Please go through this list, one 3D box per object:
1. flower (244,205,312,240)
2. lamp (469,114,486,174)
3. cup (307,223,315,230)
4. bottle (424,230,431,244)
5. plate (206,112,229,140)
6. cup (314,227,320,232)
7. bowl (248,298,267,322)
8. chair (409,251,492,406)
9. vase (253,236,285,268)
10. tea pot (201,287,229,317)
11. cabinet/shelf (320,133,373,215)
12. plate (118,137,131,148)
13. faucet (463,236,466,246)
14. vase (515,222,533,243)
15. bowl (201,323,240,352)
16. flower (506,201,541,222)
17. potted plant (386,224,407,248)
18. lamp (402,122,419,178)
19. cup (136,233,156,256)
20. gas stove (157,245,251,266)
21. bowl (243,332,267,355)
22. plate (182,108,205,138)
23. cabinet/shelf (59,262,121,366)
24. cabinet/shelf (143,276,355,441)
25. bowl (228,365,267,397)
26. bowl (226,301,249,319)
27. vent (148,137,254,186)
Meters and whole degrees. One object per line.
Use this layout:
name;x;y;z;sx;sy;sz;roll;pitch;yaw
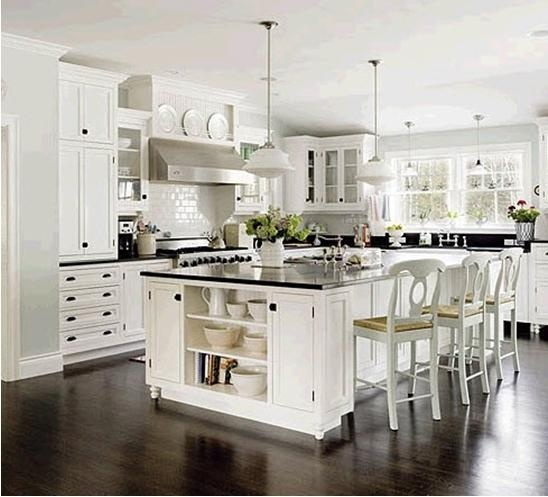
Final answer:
flower;0.069;-0.178;4.396;0.589;0.425;0.513;2;1;-11
lamp;2.886;-1.434;7.155;0.230;0.786;0.608;0;2;23
cup;0.635;-0.373;8.451;0.090;0.174;0.090;1;9;0
bottle;2.327;-0.161;7.661;0.111;0.183;0.163;0;2;23
plate;-0.708;-1.569;6.580;0.055;0.356;0.396;1;3;36
cup;0.716;-0.327;8.318;0.073;0.093;0.075;-1;6;0
bowl;-0.117;0.408;3.442;0.125;0.094;0.124;0;3;0
chair;1.453;0.594;4.116;0.552;1.070;0.475;-3;4;-34
vase;-0.018;0.042;4.281;0.227;0.232;0.181;0;1;-1
tea pot;-0.410;0.377;3.703;0.226;0.230;0.150;1;2;18
cabinet/shelf;1.104;-1.170;8.120;0.755;1.140;0.306;0;3;18
plate;-1.642;-1.160;5.597;0.108;0.070;0.112;-3;-2;36
faucet;2.745;-0.109;7.294;0.059;0.155;0.315;0;2;20
vase;3.271;-0.199;6.579;0.245;0.272;0.254;1;-3;-17
bowl;-0.377;0.619;3.623;0.180;0.110;0.184;-1;-3;0
flower;3.256;-0.455;6.599;0.361;0.298;0.406;-2;5;-3
potted plant;1.870;-0.200;7.773;0.312;0.293;0.323;-1;-3;1
lamp;2.083;-1.492;7.731;0.191;0.762;0.658;0;2;16
cup;-1.411;-0.058;5.736;0.220;0.254;0.228;-1;1;0
gas stove;-0.875;0.081;6.206;0.588;0.195;1.450;1;2;37
bowl;-0.121;0.644;3.486;0.124;0.081;0.128;0;-1;0
plate;-0.989;-1.536;6.282;0.063;0.350;0.372;1;2;32
cabinet/shelf;-1.803;0.638;5.216;0.637;0.891;0.455;-6;-14;-1
cabinet/shelf;-0.153;0.652;3.732;1.401;0.962;0.746;2;1;28
bowl;-0.146;0.904;3.516;0.300;0.159;0.307;-1;2;0
bowl;-0.251;0.416;3.522;0.110;0.075;0.114;-1;0;0
vent;-0.854;-1.014;6.213;1.098;0.408;0.325;-3;7;-37
